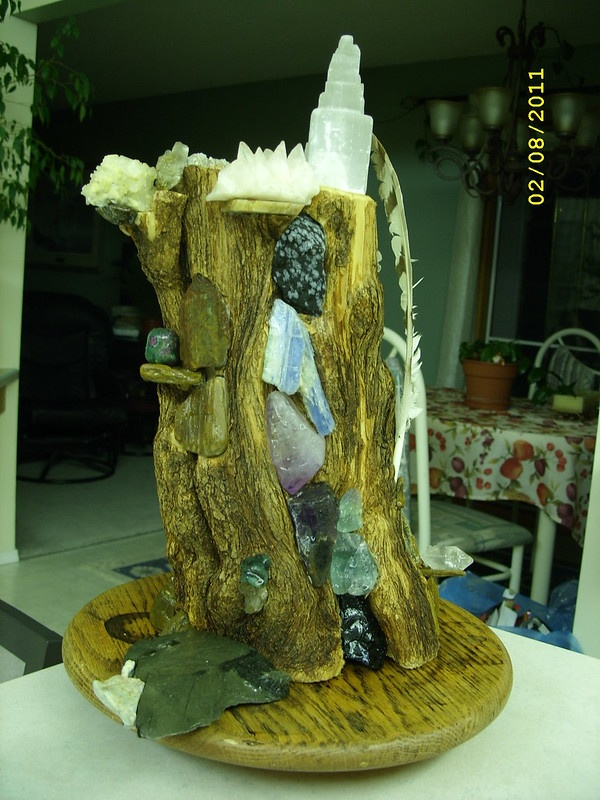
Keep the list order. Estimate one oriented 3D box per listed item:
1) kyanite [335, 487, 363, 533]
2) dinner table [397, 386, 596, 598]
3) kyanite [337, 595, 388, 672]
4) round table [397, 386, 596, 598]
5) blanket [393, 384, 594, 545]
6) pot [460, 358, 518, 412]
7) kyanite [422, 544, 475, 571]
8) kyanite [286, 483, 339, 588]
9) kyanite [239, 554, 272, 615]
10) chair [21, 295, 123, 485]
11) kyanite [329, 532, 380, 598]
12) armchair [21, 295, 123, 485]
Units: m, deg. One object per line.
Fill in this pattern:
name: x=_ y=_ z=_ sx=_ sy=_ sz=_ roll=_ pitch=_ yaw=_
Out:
kyanite: x=0.044 y=0.099 z=0.682 sx=0.024 sy=0.038 sz=0.018 roll=-1 pitch=8 yaw=-8
dinner table: x=0.571 y=0.206 z=2.250 sx=0.546 sy=0.402 sz=0.554 roll=7 pitch=15 yaw=13
kyanite: x=0.060 y=0.199 z=0.657 sx=0.038 sy=0.056 sz=0.013 roll=3 pitch=-21 yaw=-14
round table: x=0.584 y=0.187 z=2.288 sx=0.546 sy=0.402 sz=0.554 roll=3 pitch=15 yaw=-1
blanket: x=0.622 y=0.137 z=2.206 sx=0.457 sy=0.202 sz=0.453 roll=10 pitch=19 yaw=18
pot: x=0.618 y=-0.046 z=2.520 sx=0.192 sy=0.137 sz=0.186 roll=3 pitch=2 yaw=0
kyanite: x=0.135 y=0.150 z=0.755 sx=0.035 sy=0.007 sz=0.034 roll=-24 pitch=32 yaw=-34
kyanite: x=0.012 y=0.109 z=0.631 sx=0.046 sy=0.076 sz=0.021 roll=-3 pitch=0 yaw=-17
kyanite: x=-0.037 y=0.153 z=0.636 sx=0.025 sy=0.051 sz=0.019 roll=1 pitch=8 yaw=4
chair: x=-1.274 y=-0.059 z=4.140 sx=0.615 sy=0.895 sz=0.651 roll=-5 pitch=18 yaw=-35
kyanite: x=0.044 y=0.141 z=0.681 sx=0.053 sy=0.016 sz=0.068 roll=28 pitch=41 yaw=-14
armchair: x=-1.273 y=-0.059 z=4.140 sx=0.650 sy=0.893 sz=0.662 roll=6 pitch=15 yaw=2
